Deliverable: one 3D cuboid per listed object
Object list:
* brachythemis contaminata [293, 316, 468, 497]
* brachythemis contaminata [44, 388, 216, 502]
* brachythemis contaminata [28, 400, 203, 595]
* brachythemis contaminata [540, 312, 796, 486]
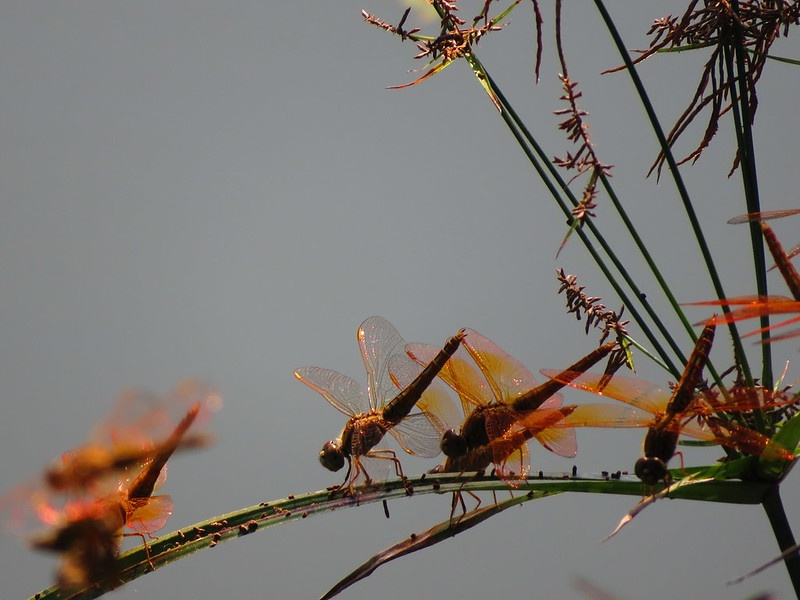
[{"bbox_3d":[-0.024,0.127,2.001,0.183,0.209,0.120,-26,-84,2],"label":"brachythemis contaminata"},{"bbox_3d":[-0.303,0.173,1.792,0.134,0.144,0.075,-26,-42,-14],"label":"brachythemis contaminata"},{"bbox_3d":[-0.321,0.238,1.814,0.150,0.077,0.173,-17,-75,-23],"label":"brachythemis contaminata"},{"bbox_3d":[0.314,0.154,1.796,0.179,0.224,0.111,-65,-30,-8],"label":"brachythemis contaminata"}]
